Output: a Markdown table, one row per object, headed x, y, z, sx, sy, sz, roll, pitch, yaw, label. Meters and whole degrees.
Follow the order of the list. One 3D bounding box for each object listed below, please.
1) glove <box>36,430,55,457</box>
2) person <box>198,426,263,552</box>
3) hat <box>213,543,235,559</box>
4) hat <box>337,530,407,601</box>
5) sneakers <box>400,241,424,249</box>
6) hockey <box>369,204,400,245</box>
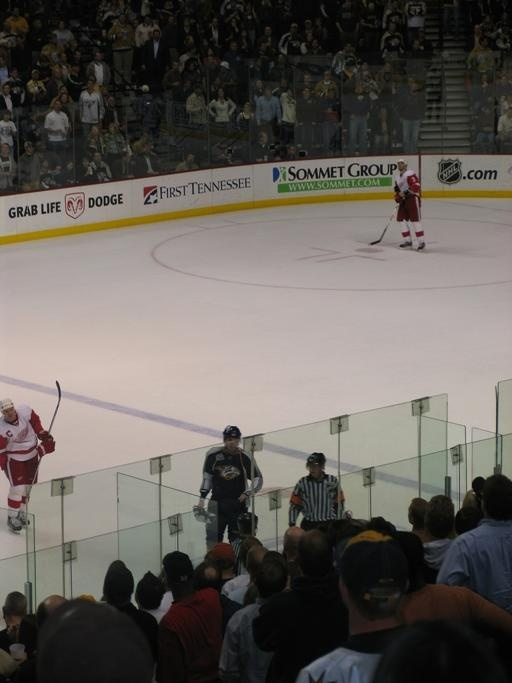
| x | y | z | sx | sy | sz | roll | pitch | yaw | label |
| --- | --- | --- | --- | --- | --- | --- | --- | --- | --- |
| -1.700 | 0.831 | 8.010 | 0.147 | 0.193 | 0.101 | -1 | 25 | -9 | glove |
| -0.195 | 0.973 | 6.198 | 0.399 | 0.828 | 0.253 | 3 | 13 | -1 | person |
| -0.154 | 1.006 | 4.824 | 0.088 | 0.079 | 0.065 | -6 | 29 | -22 | hat |
| 0.331 | 0.638 | 2.884 | 0.136 | 0.109 | 0.189 | -1 | 30 | -5 | hat |
| 2.762 | -1.680 | 17.557 | 0.412 | 0.157 | 0.148 | 3 | 10 | -1 | sneakers |
| 2.493 | -2.214 | 19.222 | 0.087 | 0.580 | 1.092 | 20 | 41 | 10 | hockey |
